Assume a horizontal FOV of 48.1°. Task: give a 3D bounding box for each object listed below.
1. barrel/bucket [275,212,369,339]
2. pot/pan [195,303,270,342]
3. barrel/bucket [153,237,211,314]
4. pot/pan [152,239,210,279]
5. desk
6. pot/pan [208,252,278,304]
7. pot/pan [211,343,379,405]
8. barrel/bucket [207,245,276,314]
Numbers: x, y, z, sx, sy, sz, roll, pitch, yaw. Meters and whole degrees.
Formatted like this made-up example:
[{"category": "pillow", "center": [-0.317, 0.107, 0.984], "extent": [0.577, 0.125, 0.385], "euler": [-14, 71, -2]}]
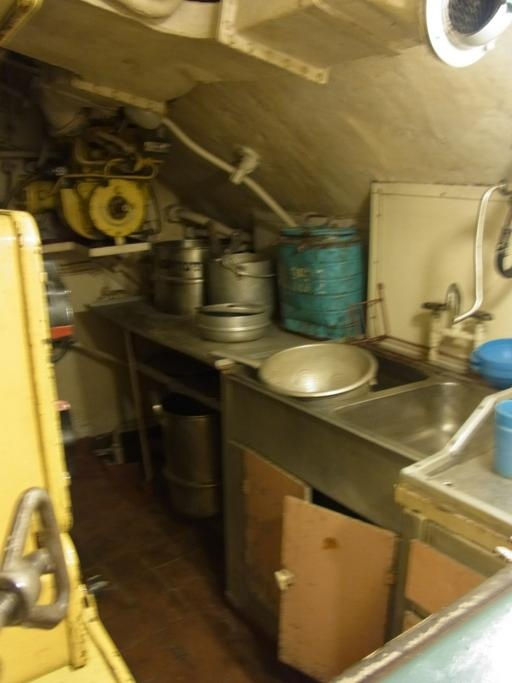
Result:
[{"category": "barrel/bucket", "center": [0.395, -0.235, 2.249], "extent": [0.409, 0.474, 0.494], "euler": [4, 12, 29]}, {"category": "pot/pan", "center": [-0.098, -0.082, 2.305], "extent": [0.291, 0.128, 0.302], "euler": [-2, 18, -4]}, {"category": "barrel/bucket", "center": [-0.330, -0.334, 2.853], "extent": [0.382, 0.353, 0.363], "euler": [2, 14, 0]}, {"category": "pot/pan", "center": [-0.321, -0.381, 2.734], "extent": [0.273, 0.151, 0.244], "euler": [-9, 10, -33]}, {"category": "desk", "center": [-0.230, 0.284, 2.486], "extent": [0.515, 0.555, 0.910], "euler": [0, 13, -38]}, {"category": "pot/pan", "center": [-0.043, -0.273, 2.483], "extent": [0.280, 0.236, 0.228], "euler": [0, 8, 6]}, {"category": "pot/pan", "center": [0.201, 0.090, 1.807], "extent": [0.407, 0.072, 0.355], "euler": [-12, 21, -34]}, {"category": "barrel/bucket", "center": [-0.034, -0.279, 2.460], "extent": [0.308, 0.264, 0.253], "euler": [-2, 9, 1]}]
